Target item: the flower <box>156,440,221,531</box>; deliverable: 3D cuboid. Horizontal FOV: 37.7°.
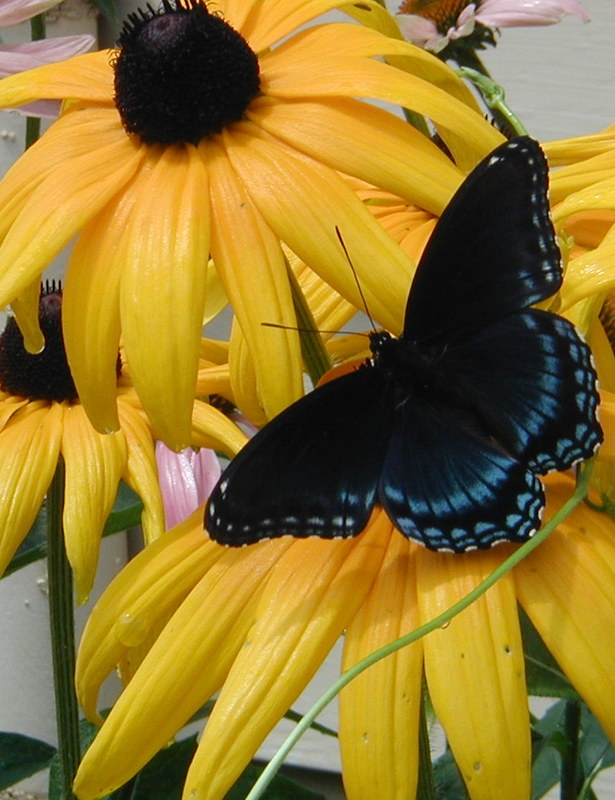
[{"bbox_3d":[-0.079,0.053,0.575,0.021,0.059,0.045,5,-12,21],"label":"flower"}]
